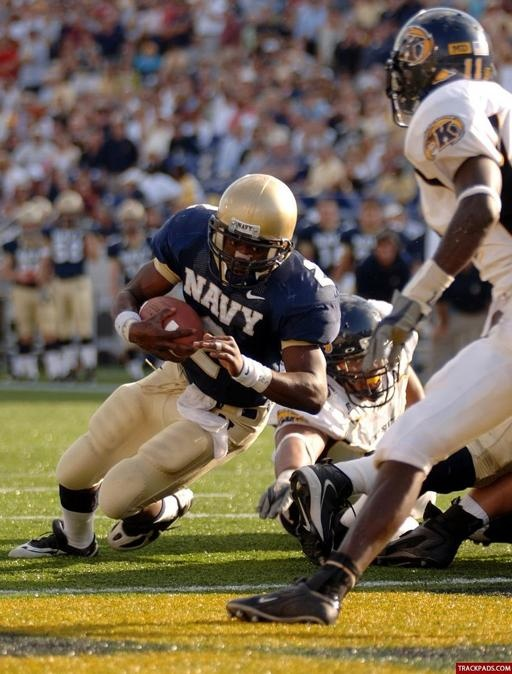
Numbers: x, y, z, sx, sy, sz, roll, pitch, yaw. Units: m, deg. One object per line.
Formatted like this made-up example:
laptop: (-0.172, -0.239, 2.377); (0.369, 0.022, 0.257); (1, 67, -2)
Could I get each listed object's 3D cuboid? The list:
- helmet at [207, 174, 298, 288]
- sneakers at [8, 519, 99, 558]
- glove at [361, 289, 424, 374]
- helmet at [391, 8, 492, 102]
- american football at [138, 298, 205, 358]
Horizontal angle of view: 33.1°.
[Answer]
helmet: (-0.005, -0.267, 2.139); (0.220, 0.282, 0.211); (1, 10, -24)
sneakers: (-0.555, 0.552, 2.343); (0.248, 0.093, 0.085); (9, -11, -6)
glove: (0.251, -0.008, 1.613); (0.102, 0.156, 0.071); (38, 11, 15)
helmet: (0.408, -0.632, 1.919); (0.269, 0.205, 0.186); (5, 5, 18)
american football: (-0.204, -0.021, 2.168); (0.197, 0.101, 0.113); (23, -1, 24)
